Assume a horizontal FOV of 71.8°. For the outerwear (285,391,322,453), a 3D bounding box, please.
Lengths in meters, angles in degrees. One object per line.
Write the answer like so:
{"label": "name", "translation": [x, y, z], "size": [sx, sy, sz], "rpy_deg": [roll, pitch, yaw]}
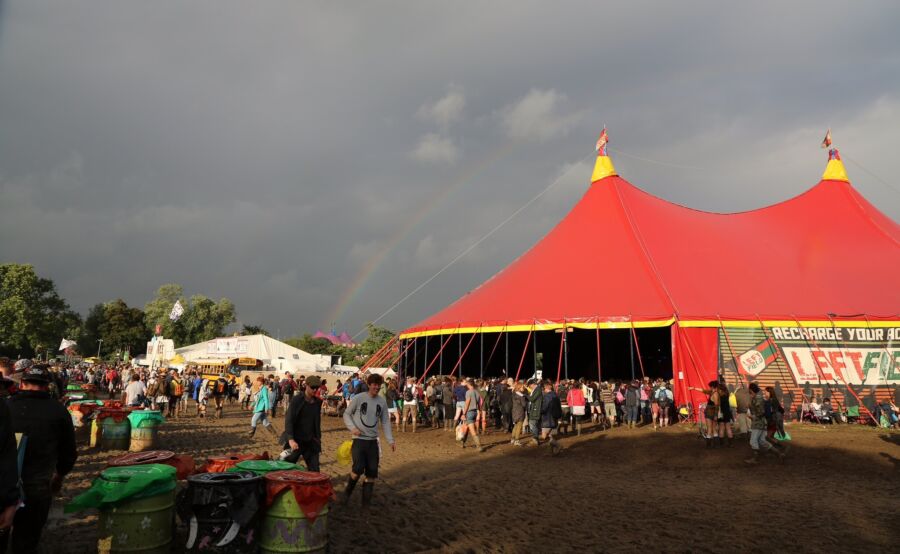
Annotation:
{"label": "outerwear", "translation": [-3.215, 3.177, 13.669], "size": [0.910, 1.191, 0.638], "rpy_deg": [21, -33, -39]}
